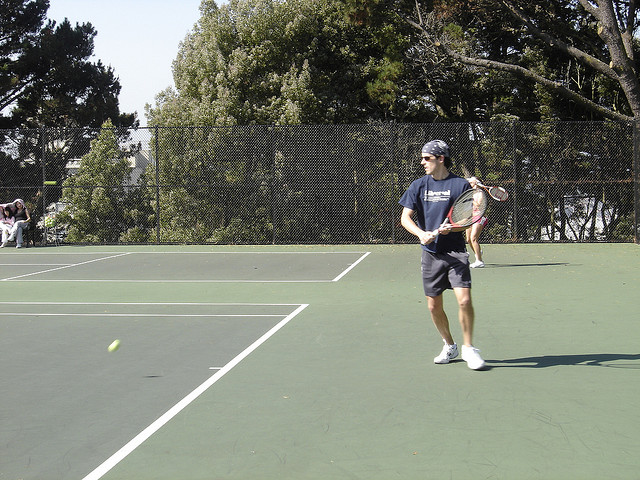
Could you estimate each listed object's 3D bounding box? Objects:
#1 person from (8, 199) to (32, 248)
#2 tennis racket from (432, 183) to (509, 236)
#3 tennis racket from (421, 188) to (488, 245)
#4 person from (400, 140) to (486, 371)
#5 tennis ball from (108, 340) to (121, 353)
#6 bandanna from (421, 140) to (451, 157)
[{"bbox_3d":[-9.687,-0.540,21.098,0.583,1.540,0.727,-5,7,-44],"label":"person"},{"bbox_3d":[1.344,-0.273,6.134,0.687,0.434,0.272,-3,5,-23],"label":"tennis racket"},{"bbox_3d":[1.364,-0.233,6.188,0.831,0.522,0.356,-4,6,-38],"label":"tennis racket"},{"bbox_3d":[1.172,0.130,6.251,0.815,2.171,0.624,0,5,11],"label":"person"},{"bbox_3d":[-2.197,1.128,6.913,0.109,0.100,0.198,-3,5,-23],"label":"tennis ball"},{"bbox_3d":[1.101,-0.870,6.183,0.214,0.161,0.251,1,5,21],"label":"bandanna"}]
